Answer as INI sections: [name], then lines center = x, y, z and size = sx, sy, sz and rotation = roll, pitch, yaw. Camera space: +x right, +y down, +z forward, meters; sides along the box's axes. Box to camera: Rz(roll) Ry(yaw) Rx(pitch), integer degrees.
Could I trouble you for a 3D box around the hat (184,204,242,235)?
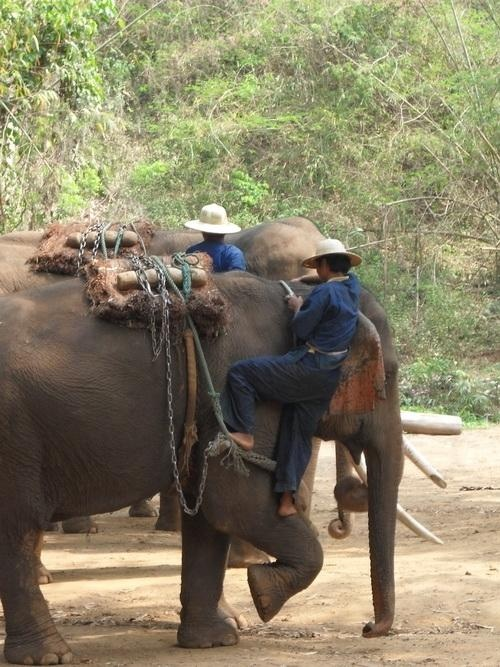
[hat]
center = -0.203, -0.596, 4.873
size = 0.252, 0.091, 0.227
rotation = 4, 12, -16
